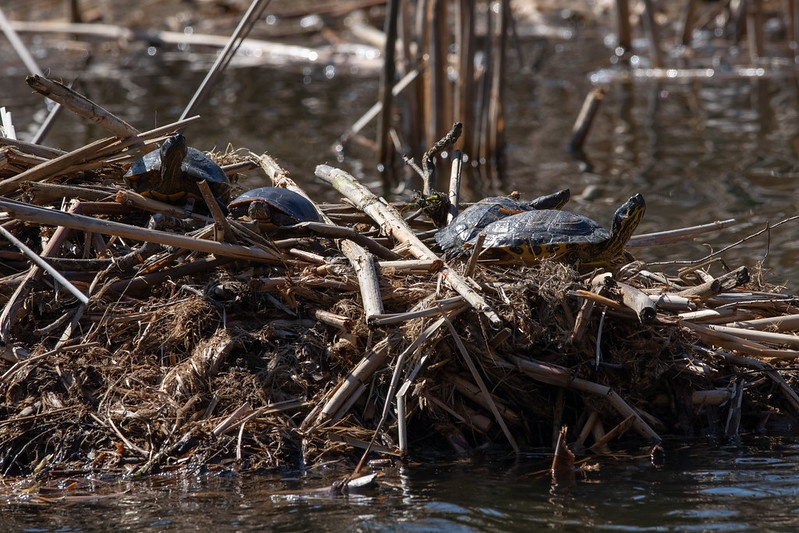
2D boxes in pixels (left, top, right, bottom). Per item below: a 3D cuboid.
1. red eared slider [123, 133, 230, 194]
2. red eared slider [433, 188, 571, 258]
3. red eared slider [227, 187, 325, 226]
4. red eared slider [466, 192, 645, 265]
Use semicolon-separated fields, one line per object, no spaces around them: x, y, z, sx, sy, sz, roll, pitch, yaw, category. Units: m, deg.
-2.124;-0.814;10.633;1.176;0.330;1.181;3;-10;-6;red eared slider
0.923;-0.470;10.419;1.323;0.265;0.732;-12;13;-4;red eared slider
-1.137;-0.567;10.503;0.995;0.221;0.896;5;9;9;red eared slider
1.343;-0.315;10.233;1.676;0.316;0.810;-1;9;10;red eared slider
